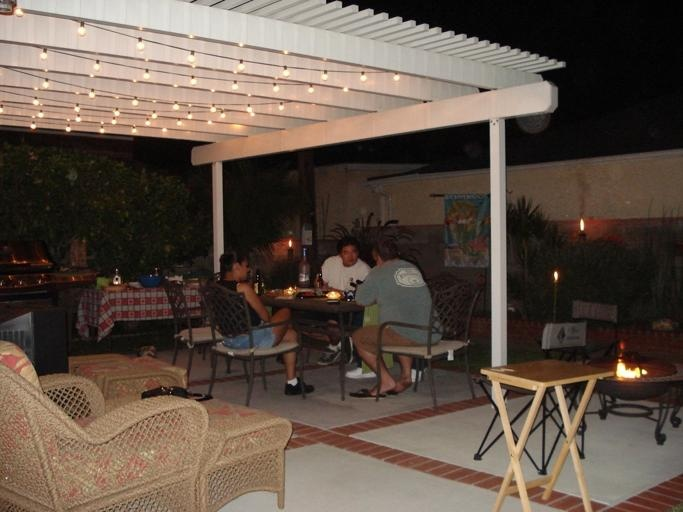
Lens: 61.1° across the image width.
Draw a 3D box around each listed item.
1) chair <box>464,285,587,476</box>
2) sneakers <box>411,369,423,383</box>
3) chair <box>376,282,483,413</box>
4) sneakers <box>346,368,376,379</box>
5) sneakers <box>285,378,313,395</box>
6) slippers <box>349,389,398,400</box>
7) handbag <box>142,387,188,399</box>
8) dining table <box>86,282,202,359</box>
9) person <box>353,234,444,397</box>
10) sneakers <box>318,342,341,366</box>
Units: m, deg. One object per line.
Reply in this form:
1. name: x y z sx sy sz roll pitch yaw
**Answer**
1. chair: 1.557 1.217 4.771 0.968 1.009 0.932 -3 -21 35
2. sneakers: 0.854 1.375 6.696 0.151 0.089 0.212 -2 -2 18
3. chair: 0.952 0.894 6.347 1.178 1.712 1.136 0 -2 41
4. sneakers: 0.221 1.397 7.031 0.305 0.130 0.149 2 -3 6
5. sneakers: -0.425 1.413 6.266 0.343 0.177 0.140 0 -3 -21
6. slippers: 0.327 1.480 6.161 0.396 0.104 0.165 4 -10 -12
7. handbag: -1.146 0.903 3.828 0.195 0.053 0.207 5 -6 -38
8. dining table: -2.871 0.745 8.600 1.868 0.737 1.112 -4 5 -32
9. person: 0.549 0.664 6.016 0.966 1.705 0.682 0 4 19
10. sneakers: -0.165 1.311 7.628 0.197 0.265 0.595 -3 -7 31
